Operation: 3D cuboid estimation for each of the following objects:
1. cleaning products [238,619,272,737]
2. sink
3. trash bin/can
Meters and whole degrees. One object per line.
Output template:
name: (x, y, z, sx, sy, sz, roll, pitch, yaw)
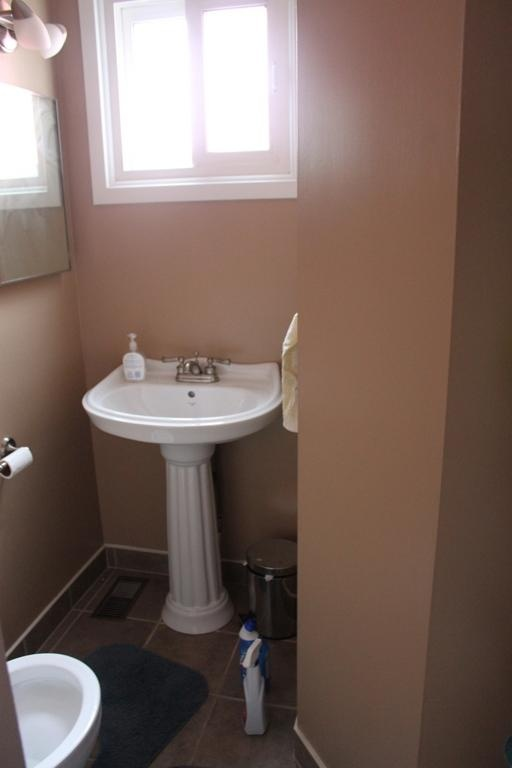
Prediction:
cleaning products: (-0.005, 0.786, 1.619, 0.076, 0.328, 0.219, 1, 11, 2)
sink: (-0.227, 0.049, 1.822, 0.613, 0.180, 0.522, 2, 13, 3)
trash bin/can: (0.054, 0.723, 2.010, 0.168, 0.297, 0.224, 1, 11, 0)
